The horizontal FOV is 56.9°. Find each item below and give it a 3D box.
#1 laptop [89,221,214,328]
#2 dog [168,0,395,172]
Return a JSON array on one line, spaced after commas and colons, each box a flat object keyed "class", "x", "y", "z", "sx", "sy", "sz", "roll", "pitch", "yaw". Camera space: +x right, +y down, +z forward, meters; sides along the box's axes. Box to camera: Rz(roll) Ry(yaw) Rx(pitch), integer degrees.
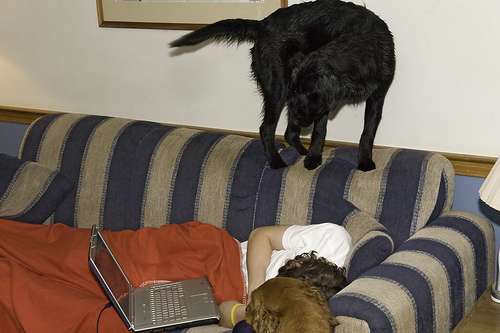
[{"class": "laptop", "x": -0.443, "y": 0.461, "z": 2.132, "sx": 0.513, "sy": 0.433, "sz": 0.386, "roll": -11, "pitch": 31, "yaw": -4}, {"class": "dog", "x": 0.249, "y": -0.435, "z": 2.458, "sx": 0.982, "sy": 0.851, "sz": 0.348, "roll": 6, "pitch": 17, "yaw": 19}]
